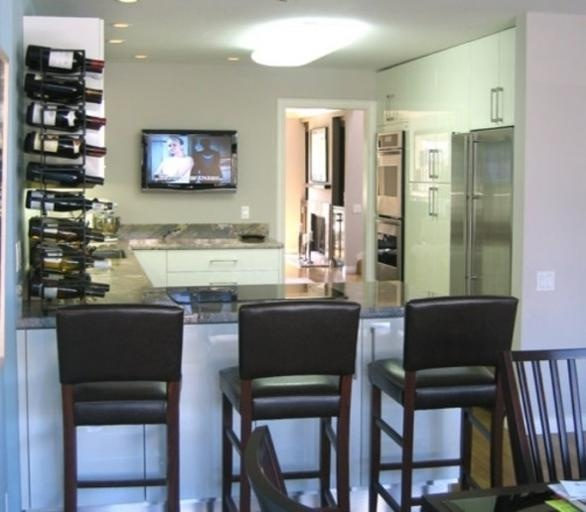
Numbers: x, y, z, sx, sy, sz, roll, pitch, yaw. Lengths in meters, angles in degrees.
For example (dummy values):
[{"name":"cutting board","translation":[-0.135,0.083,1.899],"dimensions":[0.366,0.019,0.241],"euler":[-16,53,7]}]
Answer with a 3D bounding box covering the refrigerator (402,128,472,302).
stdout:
[{"name":"refrigerator","translation":[1.302,-0.270,4.858],"dimensions":[0.618,1.216,0.373],"euler":[15,16,-3]}]
